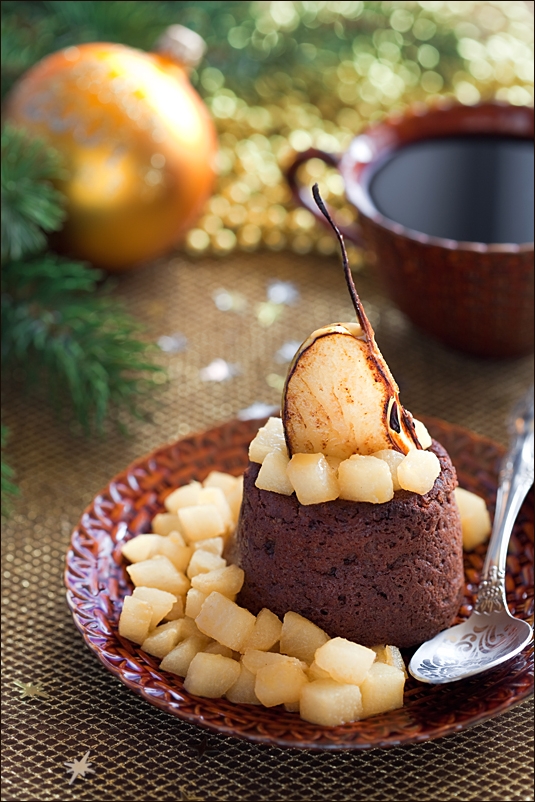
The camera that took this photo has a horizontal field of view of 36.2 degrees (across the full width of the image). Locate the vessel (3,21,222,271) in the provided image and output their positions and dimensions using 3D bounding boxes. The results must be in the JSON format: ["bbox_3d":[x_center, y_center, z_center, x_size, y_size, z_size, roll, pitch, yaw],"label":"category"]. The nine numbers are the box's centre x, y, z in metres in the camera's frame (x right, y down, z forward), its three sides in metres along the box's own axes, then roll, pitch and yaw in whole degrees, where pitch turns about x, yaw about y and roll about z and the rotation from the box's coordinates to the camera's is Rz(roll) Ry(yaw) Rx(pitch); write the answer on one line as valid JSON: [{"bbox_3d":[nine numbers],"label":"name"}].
[{"bbox_3d":[-0.178,-0.275,0.978,0.159,0.260,0.242,22,50,28],"label":"vessel"}]

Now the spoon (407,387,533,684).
[{"bbox_3d":[0.249,0.120,0.843,0.081,0.049,0.383,-2,32,38],"label":"spoon"}]

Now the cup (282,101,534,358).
[{"bbox_3d":[0.187,-0.254,1.263,0.470,0.211,0.334,14,46,30],"label":"cup"}]
